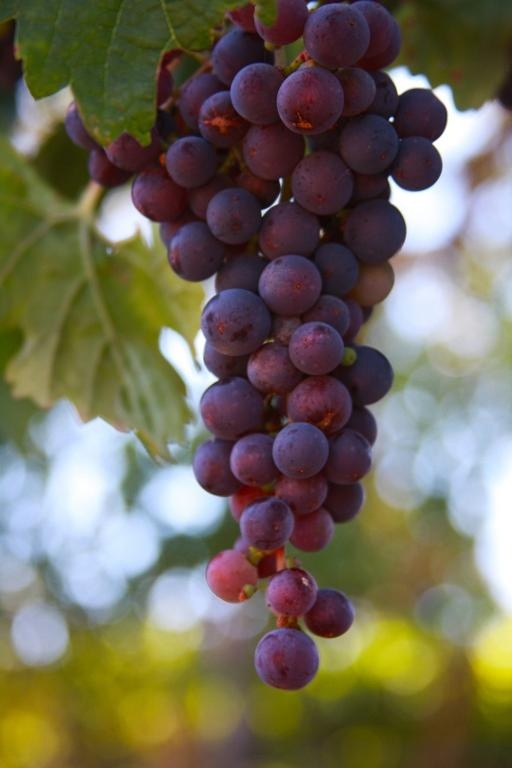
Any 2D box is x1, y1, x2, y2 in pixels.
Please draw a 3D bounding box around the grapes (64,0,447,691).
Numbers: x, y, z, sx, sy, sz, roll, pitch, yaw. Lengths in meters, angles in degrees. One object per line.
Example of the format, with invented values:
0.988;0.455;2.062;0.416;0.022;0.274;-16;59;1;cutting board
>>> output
-0.042;-0.079;0.935;0.403;0.623;0.499;7;31;31;grapes
